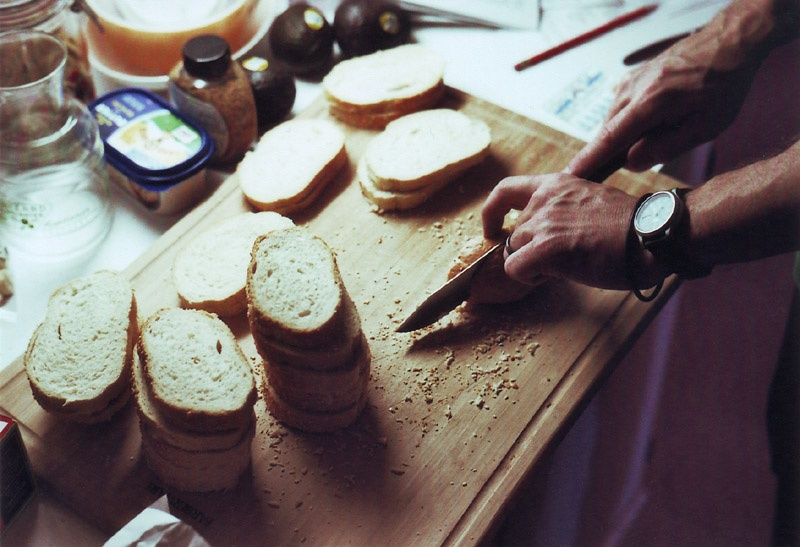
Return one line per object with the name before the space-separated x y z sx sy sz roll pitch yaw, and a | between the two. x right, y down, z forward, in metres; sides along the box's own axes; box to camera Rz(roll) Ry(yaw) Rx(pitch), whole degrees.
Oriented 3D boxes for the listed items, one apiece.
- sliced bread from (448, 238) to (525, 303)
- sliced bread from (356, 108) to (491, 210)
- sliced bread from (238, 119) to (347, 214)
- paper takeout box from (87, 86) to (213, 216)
sliced bread | 0.320 0.005 2.748 0.241 0.087 0.200 -27 27 30
sliced bread | 0.103 -0.476 3.002 0.441 0.118 0.365 -28 53 -10
sliced bread | -0.416 -0.456 2.995 0.397 0.103 0.311 -38 54 -12
paper takeout box | -0.979 -0.446 3.041 0.344 0.217 0.541 -39 75 -18
